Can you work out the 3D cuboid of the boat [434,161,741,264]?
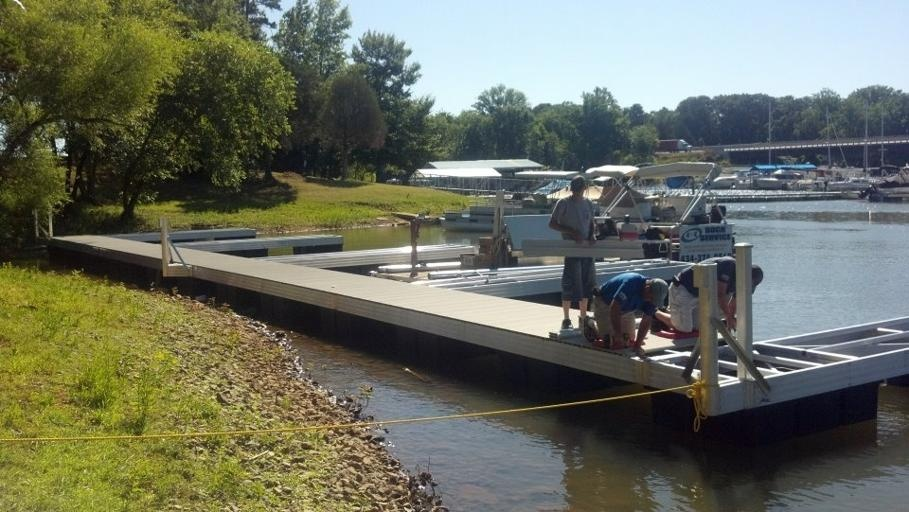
[{"bbox_3d":[7.271,-1.192,38.349,8.171,2.926,5.611,2,6,39],"label":"boat"}]

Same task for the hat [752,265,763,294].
[{"bbox_3d":[8.307,0.567,27.856,0.199,0.611,1.233,4,7,22],"label":"hat"}]

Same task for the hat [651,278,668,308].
[{"bbox_3d":[5.506,0.978,27.303,0.541,0.749,0.405,-2,-10,-29],"label":"hat"}]

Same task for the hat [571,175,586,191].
[{"bbox_3d":[3.511,-2.001,28.725,0.431,0.407,0.375,2,7,6],"label":"hat"}]
